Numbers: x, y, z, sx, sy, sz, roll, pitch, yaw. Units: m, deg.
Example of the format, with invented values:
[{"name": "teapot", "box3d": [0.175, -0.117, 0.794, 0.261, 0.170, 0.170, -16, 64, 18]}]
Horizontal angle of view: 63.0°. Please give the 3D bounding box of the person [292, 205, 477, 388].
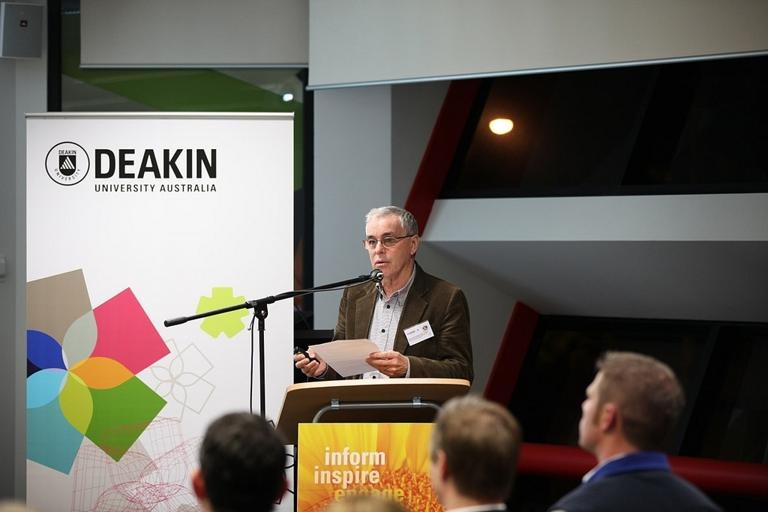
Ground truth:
[{"name": "person", "box3d": [0.194, 0.243, 3.493, 0.628, 0.861, 1.002, 4, 15, -23]}]
